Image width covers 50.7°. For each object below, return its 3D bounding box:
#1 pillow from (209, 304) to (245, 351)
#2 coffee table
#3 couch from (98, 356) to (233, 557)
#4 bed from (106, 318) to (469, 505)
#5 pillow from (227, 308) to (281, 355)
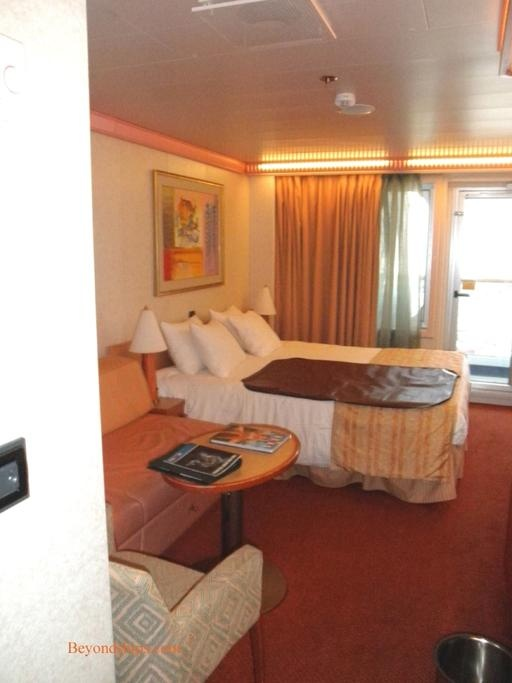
[{"bbox_3d":[-0.247,-0.121,4.881,0.116,0.374,0.389,-22,4,11],"label":"pillow"},{"bbox_3d":[-0.030,0.860,2.671,0.694,0.760,0.661,-2,16,3],"label":"coffee table"},{"bbox_3d":[-0.482,0.620,2.879,0.479,0.582,0.889,2,15,7],"label":"couch"},{"bbox_3d":[0.307,0.445,3.843,1.613,0.845,1.688,2,21,11],"label":"bed"},{"bbox_3d":[0.009,-0.223,4.845,0.315,0.282,0.737,11,15,7],"label":"pillow"}]
